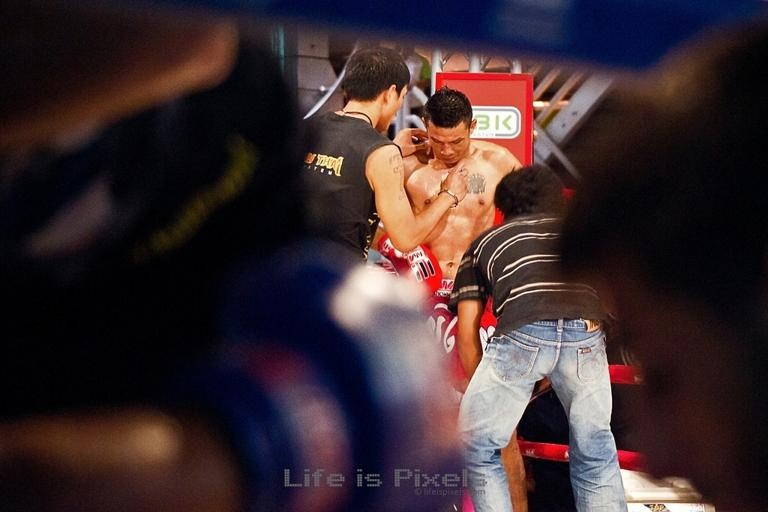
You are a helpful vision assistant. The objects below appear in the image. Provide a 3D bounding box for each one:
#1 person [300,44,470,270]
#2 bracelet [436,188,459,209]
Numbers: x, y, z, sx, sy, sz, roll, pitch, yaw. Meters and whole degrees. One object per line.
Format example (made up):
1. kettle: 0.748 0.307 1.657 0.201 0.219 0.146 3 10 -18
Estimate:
1. person: -0.001 -0.600 4.197 0.678 1.543 0.827 34 49 26
2. bracelet: 0.435 -0.369 4.235 0.032 0.116 0.120 -37 69 -9
